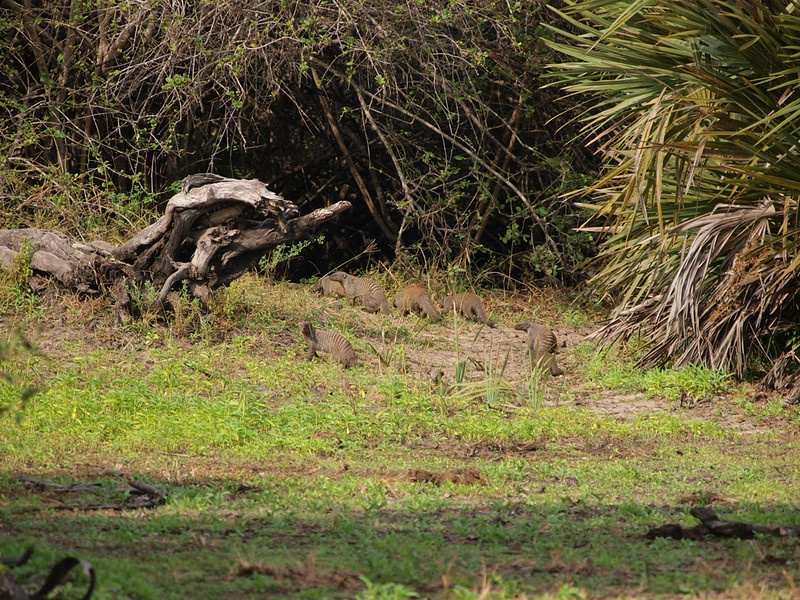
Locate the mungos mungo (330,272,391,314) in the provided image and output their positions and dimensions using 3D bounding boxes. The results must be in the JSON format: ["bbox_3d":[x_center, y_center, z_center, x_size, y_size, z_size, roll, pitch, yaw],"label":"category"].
[{"bbox_3d":[-0.493,-0.112,14.143,0.817,0.417,0.324,29,27,17],"label":"mungos mungo"}]

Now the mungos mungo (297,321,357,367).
[{"bbox_3d":[-0.761,0.474,12.057,0.639,0.465,0.340,4,14,14],"label":"mungos mungo"}]
